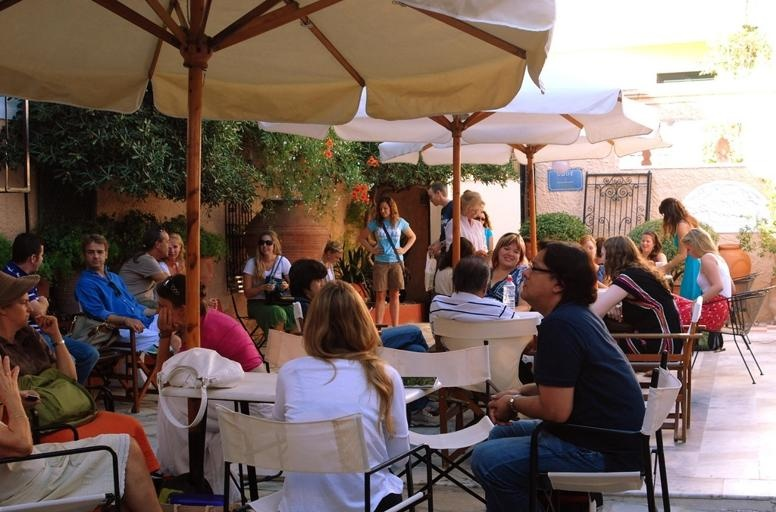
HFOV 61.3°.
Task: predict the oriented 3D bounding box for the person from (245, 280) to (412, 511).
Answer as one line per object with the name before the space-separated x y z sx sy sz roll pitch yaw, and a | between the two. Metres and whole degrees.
person | -0.473 0.762 4.204 1.054 1.676 1.204 3 1 7

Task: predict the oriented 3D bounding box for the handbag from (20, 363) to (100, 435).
handbag | -2.305 1.000 4.588 0.468 0.451 0.399 -4 4 -34

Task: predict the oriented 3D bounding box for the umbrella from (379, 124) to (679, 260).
umbrella | 2.403 -1.071 11.054 2.715 1.802 2.739 -1 -2 4

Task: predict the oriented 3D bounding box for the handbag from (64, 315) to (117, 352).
handbag | -3.147 0.814 6.921 0.395 0.418 0.171 19 -2 -8

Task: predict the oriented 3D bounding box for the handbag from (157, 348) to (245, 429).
handbag | -1.287 0.846 4.487 0.449 0.630 0.241 5 -10 7

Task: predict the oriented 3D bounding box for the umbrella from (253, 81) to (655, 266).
umbrella | 0.832 -1.115 9.478 3.458 2.302 3.574 0 -6 1

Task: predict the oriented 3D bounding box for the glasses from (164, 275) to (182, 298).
glasses | -1.599 0.221 4.897 0.122 0.135 0.157 0 -14 -10

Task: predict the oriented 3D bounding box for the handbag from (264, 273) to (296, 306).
handbag | -1.453 0.476 8.750 0.251 0.410 0.403 2 -3 -42
